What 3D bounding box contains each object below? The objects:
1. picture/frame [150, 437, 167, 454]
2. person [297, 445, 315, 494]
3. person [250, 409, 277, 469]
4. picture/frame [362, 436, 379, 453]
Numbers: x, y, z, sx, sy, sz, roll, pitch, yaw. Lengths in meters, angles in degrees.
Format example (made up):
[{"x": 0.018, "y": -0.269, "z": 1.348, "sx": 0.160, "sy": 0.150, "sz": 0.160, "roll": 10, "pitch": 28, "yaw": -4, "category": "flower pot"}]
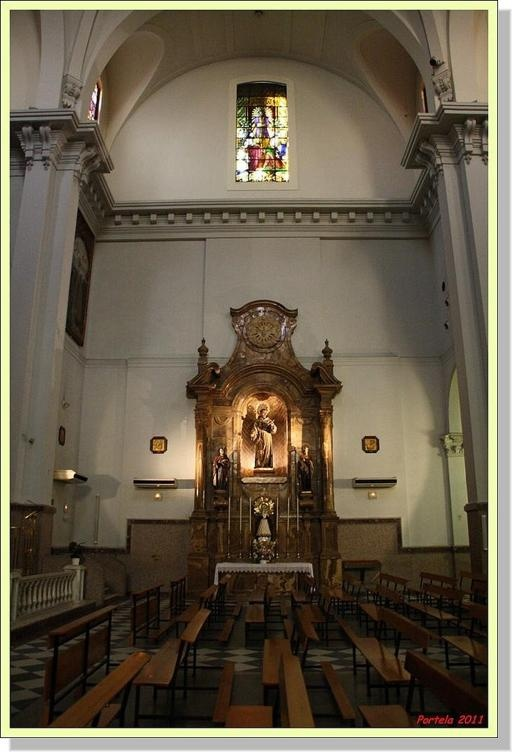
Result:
[{"x": -2.318, "y": 1.675, "z": 11.950, "sx": 0.296, "sy": 0.346, "sz": 0.035, "roll": -3, "pitch": -8, "yaw": 2, "category": "picture/frame"}, {"x": 1.114, "y": 2.096, "z": 11.213, "sx": 0.373, "sy": 1.050, "sz": 0.400, "roll": -3, "pitch": -13, "yaw": 7, "category": "person"}, {"x": 0.178, "y": 1.494, "z": 11.848, "sx": 0.570, "sy": 1.455, "sz": 0.314, "roll": -2, "pitch": -13, "yaw": 3, "category": "person"}, {"x": 2.727, "y": 1.646, "z": 11.887, "sx": 0.307, "sy": 0.358, "sz": 0.050, "roll": 2, "pitch": -18, "yaw": 1, "category": "picture/frame"}]
